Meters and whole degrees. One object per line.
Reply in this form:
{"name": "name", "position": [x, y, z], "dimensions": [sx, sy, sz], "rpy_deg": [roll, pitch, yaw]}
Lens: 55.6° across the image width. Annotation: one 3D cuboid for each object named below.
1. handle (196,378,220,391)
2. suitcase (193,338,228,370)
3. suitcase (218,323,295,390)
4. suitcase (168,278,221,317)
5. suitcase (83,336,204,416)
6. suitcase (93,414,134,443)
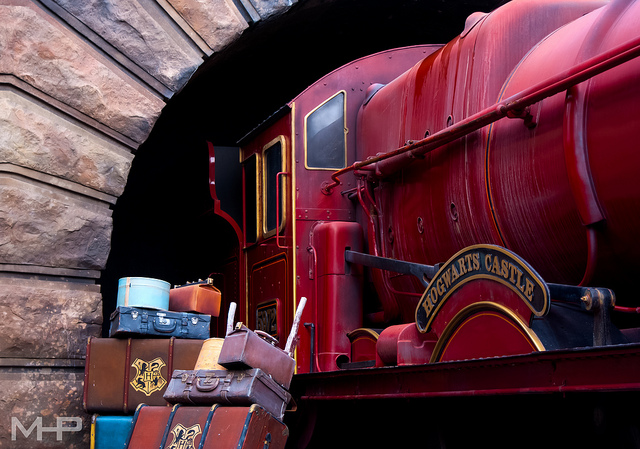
{"name": "handle", "position": [-0.871, 1.244, 4.669], "dimensions": [0.128, 0.051, 0.129], "rpy_deg": [-3, -3, 24]}
{"name": "suitcase", "position": [-0.903, 1.129, 5.124], "dimensions": [0.219, 0.275, 0.240], "rpy_deg": [3, -26, -8]}
{"name": "suitcase", "position": [-0.482, 1.031, 4.668], "dimensions": [0.535, 0.355, 0.252], "rpy_deg": [33, -23, -33]}
{"name": "suitcase", "position": [-1.343, 0.754, 6.223], "dimensions": [0.595, 0.395, 0.328], "rpy_deg": [-14, -28, 42]}
{"name": "suitcase", "position": [-1.646, 1.485, 5.687], "dimensions": [1.099, 0.775, 0.426], "rpy_deg": [2, -37, -15]}
{"name": "suitcase", "position": [-1.910, 1.819, 5.447], "dimensions": [0.357, 0.292, 0.218], "rpy_deg": [0, -7, -3]}
